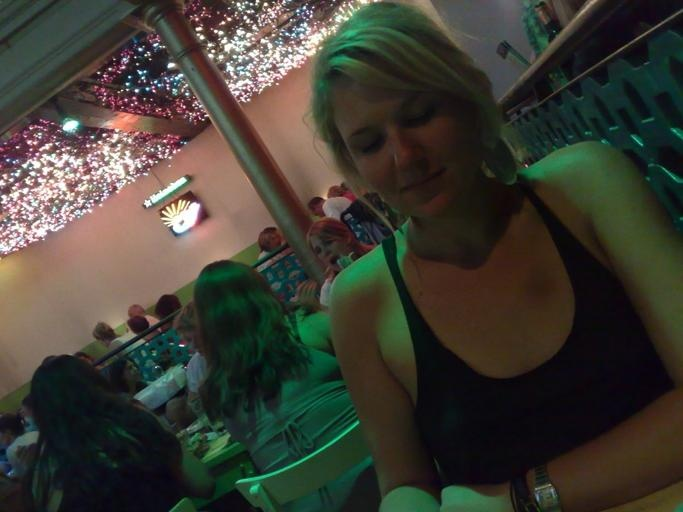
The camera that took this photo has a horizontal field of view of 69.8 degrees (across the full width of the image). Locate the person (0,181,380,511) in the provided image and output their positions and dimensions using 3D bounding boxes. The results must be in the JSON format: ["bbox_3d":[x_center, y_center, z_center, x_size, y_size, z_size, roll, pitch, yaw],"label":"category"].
[{"bbox_3d":[-0.497,0.681,2.668,1.036,1.737,1.102,-30,10,6],"label":"person"}]
